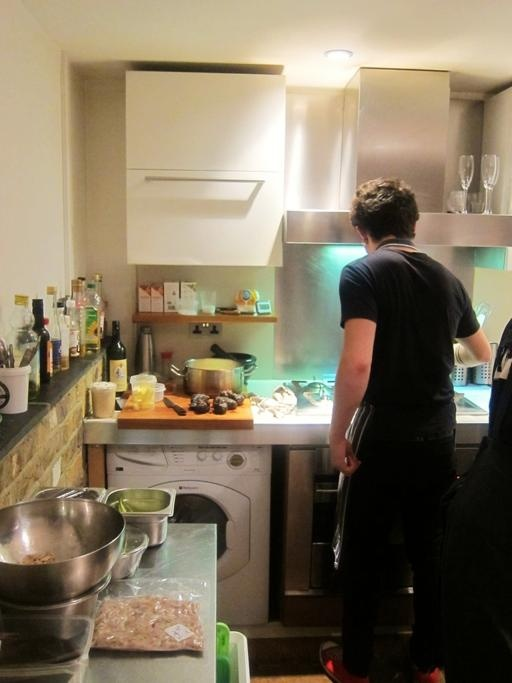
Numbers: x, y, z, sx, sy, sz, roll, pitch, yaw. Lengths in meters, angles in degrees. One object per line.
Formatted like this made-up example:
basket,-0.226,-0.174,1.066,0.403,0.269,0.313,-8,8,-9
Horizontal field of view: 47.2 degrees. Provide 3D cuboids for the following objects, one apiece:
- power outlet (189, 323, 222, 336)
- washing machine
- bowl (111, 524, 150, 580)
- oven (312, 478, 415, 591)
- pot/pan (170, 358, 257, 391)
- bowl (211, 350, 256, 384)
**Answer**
power outlet,-0.245,-0.059,2.888,0.142,0.060,0.013,3,11,-3
washing machine,-0.314,0.770,2.615,0.589,0.786,0.615,0,6,-7
bowl,-0.262,0.439,1.244,0.078,0.059,0.081,2,13,0
oven,0.361,0.758,2.265,0.528,0.512,0.424,0,-2,2
pot/pan,-0.192,0.155,2.640,0.341,0.133,0.316,10,12,29
bowl,-0.101,0.105,2.772,0.189,0.126,0.153,6,6,27
